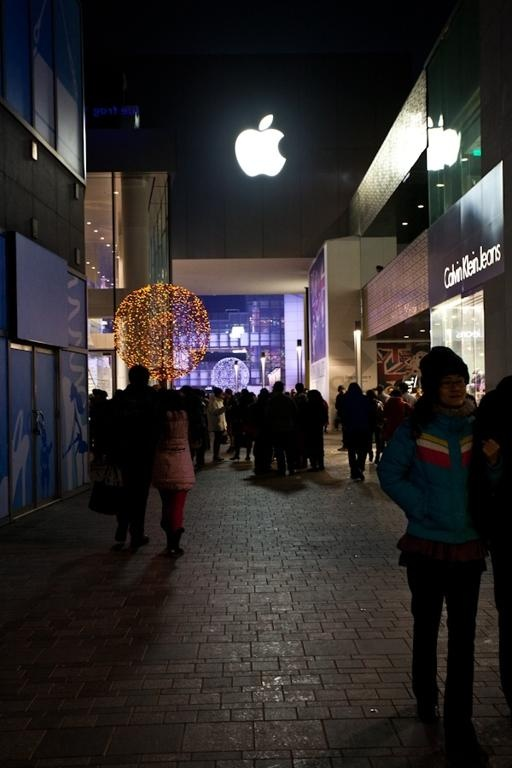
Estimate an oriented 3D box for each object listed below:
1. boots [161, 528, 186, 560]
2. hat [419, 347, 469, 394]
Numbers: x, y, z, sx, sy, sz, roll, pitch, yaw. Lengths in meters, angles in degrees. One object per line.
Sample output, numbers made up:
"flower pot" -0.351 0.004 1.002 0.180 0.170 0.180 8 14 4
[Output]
"boots" -0.827 1.597 6.097 0.231 0.276 0.241 2 -10 -11
"hat" 0.681 -0.069 2.288 0.132 0.198 0.196 3 -17 -1
